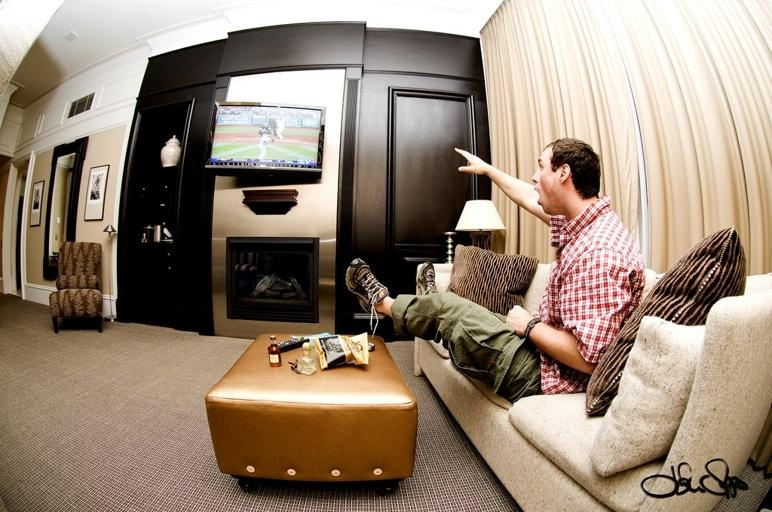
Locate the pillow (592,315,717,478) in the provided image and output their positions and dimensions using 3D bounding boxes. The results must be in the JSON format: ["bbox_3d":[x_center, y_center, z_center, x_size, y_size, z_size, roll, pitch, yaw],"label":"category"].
[{"bbox_3d":[1.366,0.722,2.426,0.290,0.631,0.570,11,32,16],"label":"pillow"}]

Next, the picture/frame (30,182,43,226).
[{"bbox_3d":[-2.137,-0.325,2.970,0.239,0.280,0.010,12,9,38],"label":"picture/frame"}]

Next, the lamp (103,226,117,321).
[{"bbox_3d":[-2.779,0.144,4.895,0.156,0.908,0.103,4,4,40],"label":"lamp"}]

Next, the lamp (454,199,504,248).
[{"bbox_3d":[0.847,-0.275,4.341,0.434,0.490,0.441,1,4,15],"label":"lamp"}]

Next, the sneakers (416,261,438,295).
[{"bbox_3d":[0.318,0.178,3.717,0.102,0.306,0.129,6,-8,-11],"label":"sneakers"}]
